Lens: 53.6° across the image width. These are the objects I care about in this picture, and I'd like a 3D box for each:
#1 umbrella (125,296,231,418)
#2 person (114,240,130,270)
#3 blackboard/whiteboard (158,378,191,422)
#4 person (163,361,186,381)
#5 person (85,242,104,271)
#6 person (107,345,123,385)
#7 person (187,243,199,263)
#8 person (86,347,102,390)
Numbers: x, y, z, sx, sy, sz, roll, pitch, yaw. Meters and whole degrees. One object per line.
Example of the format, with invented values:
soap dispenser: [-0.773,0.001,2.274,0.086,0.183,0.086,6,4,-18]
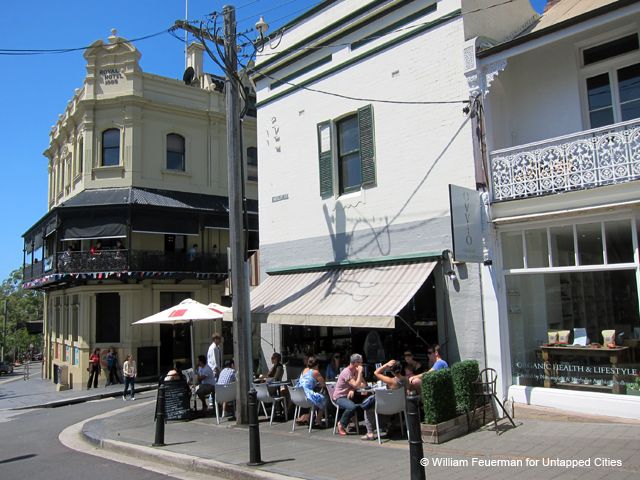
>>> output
umbrella: [-4.020,3.249,18.563,2.409,1.891,2.595,-4,-5,-1]
person: [-9.295,0.699,29.629,0.644,1.479,1.549,-2,-5,-18]
blackboard/whiteboard: [-3.925,4.252,17.480,0.696,1.372,0.694,-3,22,-10]
person: [-4.031,3.680,17.653,0.500,0.477,0.844,-5,-5,13]
person: [-10.566,0.827,29.819,0.643,1.342,1.329,-1,-5,-21]
person: [-9.318,5.710,28.664,0.575,1.677,1.363,-2,-5,-18]
person: [-6.339,0.652,31.678,0.429,0.959,1.220,-2,-5,-9]
person: [-10.008,5.714,28.107,0.579,1.695,1.688,-1,-5,-20]
